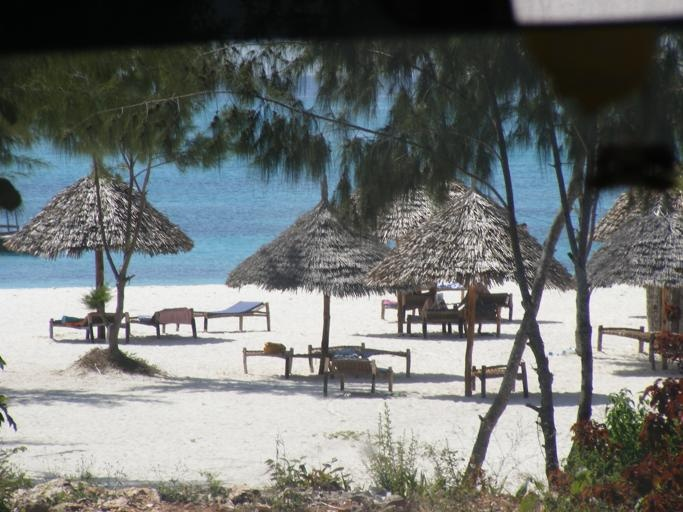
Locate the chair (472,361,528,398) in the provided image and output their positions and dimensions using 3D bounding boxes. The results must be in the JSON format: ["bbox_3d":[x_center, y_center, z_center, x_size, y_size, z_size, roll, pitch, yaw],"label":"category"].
[{"bbox_3d":[2.444,1.830,26.780,0.655,0.514,0.735,-1,2,-1],"label":"chair"}]

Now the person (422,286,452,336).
[{"bbox_3d":[1.824,0.981,33.845,0.554,0.988,0.500,-2,4,2],"label":"person"}]
